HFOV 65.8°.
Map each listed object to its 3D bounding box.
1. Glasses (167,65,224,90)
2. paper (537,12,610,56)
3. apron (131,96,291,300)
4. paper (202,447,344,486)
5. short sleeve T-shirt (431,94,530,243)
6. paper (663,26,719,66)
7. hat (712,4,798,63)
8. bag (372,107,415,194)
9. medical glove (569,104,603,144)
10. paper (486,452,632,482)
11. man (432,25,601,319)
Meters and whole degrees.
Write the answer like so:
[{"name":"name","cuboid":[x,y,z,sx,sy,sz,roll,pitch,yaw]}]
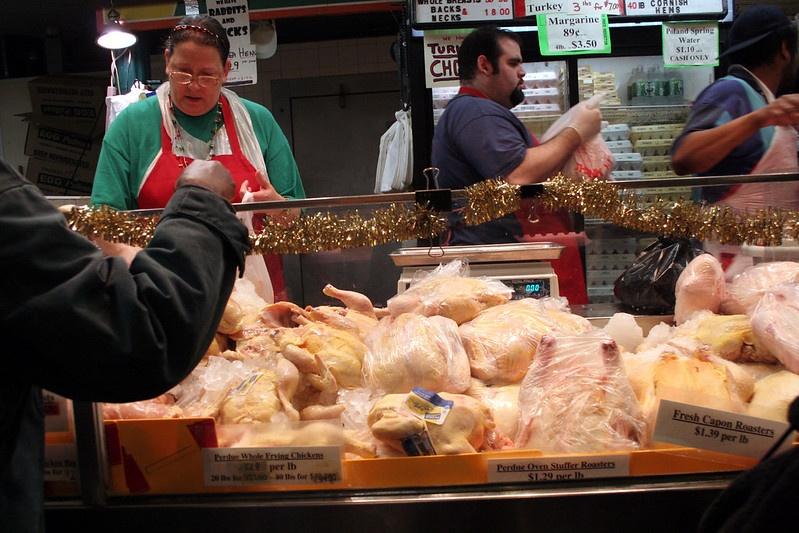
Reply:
[{"name":"Glasses","cuboid":[-0.855,-0.782,2.570,0.215,0.069,0.086,-4,11,-18]},{"name":"paper","cuboid":[1.168,-1.573,4.164,0.389,0.239,0.004,-1,-10,-8]},{"name":"apron","cuboid":[-0.767,-0.406,2.507,0.570,1.045,0.348,1,-7,-26]},{"name":"paper","cuboid":[-0.324,0.498,1.538,0.169,0.054,0.183,-1,-8,1]},{"name":"short sleeve T-shirt","cuboid":[0.410,-0.448,2.917,0.451,0.753,0.692,3,15,4]},{"name":"paper","cuboid":[2.068,-1.570,4.399,0.317,0.243,0.045,-1,-5,2]},{"name":"hat","cuboid":[1.659,-1.110,2.924,0.295,0.159,0.216,-22,0,5]},{"name":"bag","cuboid":[-0.031,-0.942,5.108,0.201,0.682,0.642,-6,12,-29]},{"name":"medical glove","cuboid":[0.715,-0.548,2.378,0.119,0.109,0.194,10,52,33]},{"name":"paper","cuboid":[0.391,0.498,1.528,0.348,0.071,0.010,-1,10,0]},{"name":"man","cuboid":[0.555,-0.250,3.002,0.676,1.726,0.734,1,23,12]}]
